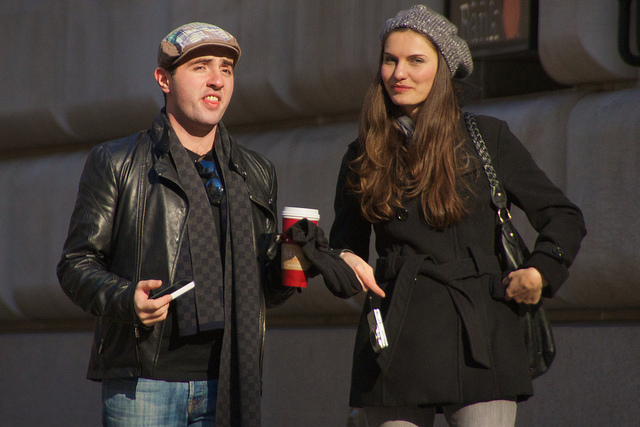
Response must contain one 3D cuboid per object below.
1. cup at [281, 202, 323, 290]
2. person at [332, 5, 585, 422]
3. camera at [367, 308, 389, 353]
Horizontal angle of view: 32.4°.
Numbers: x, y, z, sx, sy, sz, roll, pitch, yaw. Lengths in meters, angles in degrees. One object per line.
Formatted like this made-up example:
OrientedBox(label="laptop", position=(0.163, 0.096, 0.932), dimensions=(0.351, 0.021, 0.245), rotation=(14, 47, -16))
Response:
OrientedBox(label="cup", position=(-0.111, 0.164, 5.288), dimensions=(0.145, 0.408, 0.235), rotation=(-4, 0, -45))
OrientedBox(label="person", position=(0.605, -0.007, 5.244), dimensions=(1.098, 1.942, 0.378), rotation=(-4, 0, 0))
OrientedBox(label="camera", position=(0.263, 0.544, 5.118), dimensions=(0.044, 0.179, 0.120), rotation=(-9, -12, 4))
